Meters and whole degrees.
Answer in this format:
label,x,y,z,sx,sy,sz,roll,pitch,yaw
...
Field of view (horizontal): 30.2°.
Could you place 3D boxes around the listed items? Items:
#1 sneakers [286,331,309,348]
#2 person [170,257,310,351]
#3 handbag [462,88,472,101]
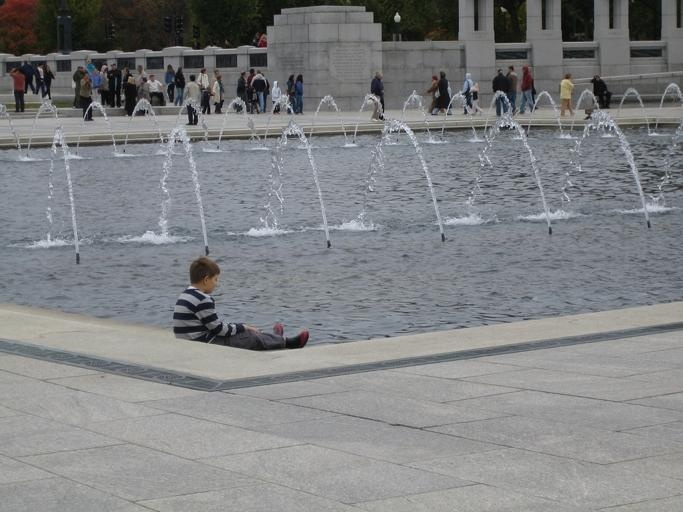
label,x,y,z,sx,sy,sz,roll,pitch,yaw
sneakers,-0.419,0.780,12.070,0.146,0.083,0.313,19,-40,-39
person,-0.897,0.490,12.165,1.486,0.779,0.741,-1,8,-26
handbag,4.564,-5.787,45.877,0.447,0.446,0.298,8,26,17
